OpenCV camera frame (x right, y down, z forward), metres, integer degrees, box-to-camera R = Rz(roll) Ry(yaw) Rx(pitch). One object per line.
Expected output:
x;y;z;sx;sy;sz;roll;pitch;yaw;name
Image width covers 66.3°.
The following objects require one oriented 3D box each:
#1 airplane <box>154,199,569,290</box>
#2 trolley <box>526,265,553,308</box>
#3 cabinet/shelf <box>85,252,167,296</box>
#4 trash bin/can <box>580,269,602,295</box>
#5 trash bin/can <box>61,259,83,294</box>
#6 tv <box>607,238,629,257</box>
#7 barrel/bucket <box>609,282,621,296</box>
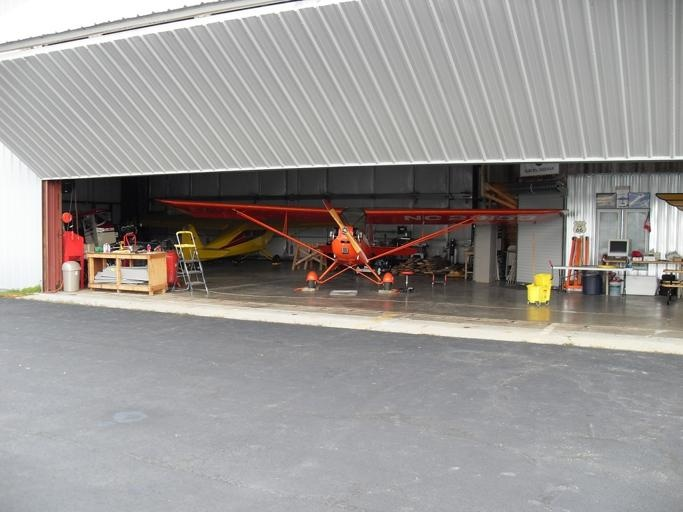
2.002;-0.424;17.381;14.723;2.361;8.671;3;4;25;airplane
3.972;0.663;10.502;0.365;0.573;0.599;0;0;38;trolley
-4.779;0.364;11.677;1.807;0.920;0.712;0;0;24;cabinet/shelf
5.722;0.649;12.303;0.625;0.515;0.538;2;-7;-13;trash bin/can
-5.991;0.451;11.590;0.374;0.680;0.399;0;0;-26;trash bin/can
6.243;-0.175;11.794;0.509;0.372;0.268;-2;-8;36;tv
6.324;0.747;12.015;0.325;0.290;0.107;0;0;-9;barrel/bucket
